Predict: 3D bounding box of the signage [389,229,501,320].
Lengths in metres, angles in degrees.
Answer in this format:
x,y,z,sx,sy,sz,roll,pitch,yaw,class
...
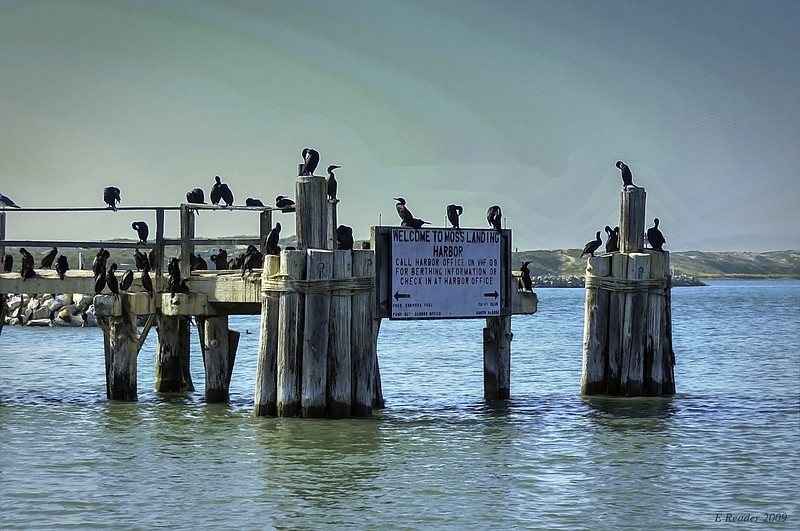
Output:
x,y,z,sx,sy,sz,roll,pitch,yaw,class
1.235,0.250,47.571,3.049,2.023,0.099,1,-5,-26,signage
